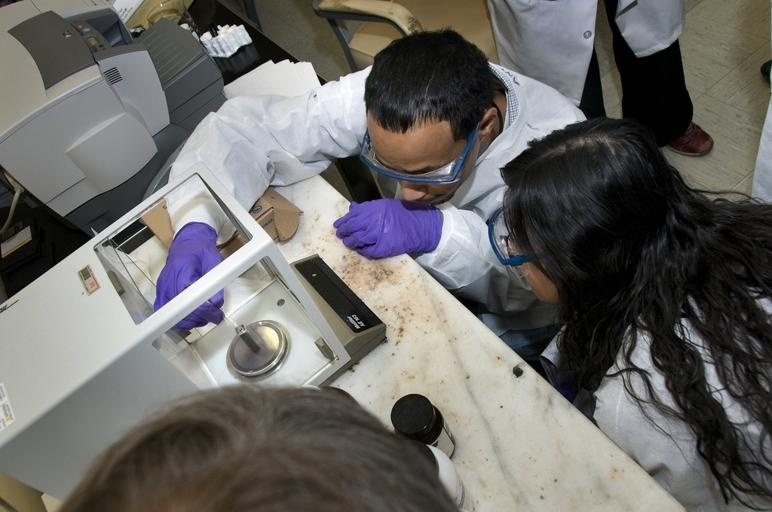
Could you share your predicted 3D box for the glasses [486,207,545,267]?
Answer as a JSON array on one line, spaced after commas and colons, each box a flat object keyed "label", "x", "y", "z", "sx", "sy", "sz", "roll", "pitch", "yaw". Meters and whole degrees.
[{"label": "glasses", "x": 0.378, "y": -0.056, "z": 1.665, "sx": 0.149, "sy": 0.075, "sz": 0.122, "roll": 21, "pitch": 68, "yaw": 21}]

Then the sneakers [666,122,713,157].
[{"label": "sneakers", "x": 1.462, "y": -0.572, "z": 2.779, "sx": 0.253, "sy": 0.101, "sz": 0.124, "roll": 34, "pitch": 79, "yaw": 36}]

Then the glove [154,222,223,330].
[{"label": "glove", "x": -0.513, "y": 0.091, "z": 1.595, "sx": 0.188, "sy": 0.113, "sz": 0.310, "roll": -18, "pitch": 42, "yaw": 17}]

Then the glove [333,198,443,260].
[{"label": "glove", "x": -0.061, "y": -0.081, "z": 1.846, "sx": 0.187, "sy": 0.319, "sz": 0.095, "roll": 0, "pitch": 76, "yaw": 4}]
